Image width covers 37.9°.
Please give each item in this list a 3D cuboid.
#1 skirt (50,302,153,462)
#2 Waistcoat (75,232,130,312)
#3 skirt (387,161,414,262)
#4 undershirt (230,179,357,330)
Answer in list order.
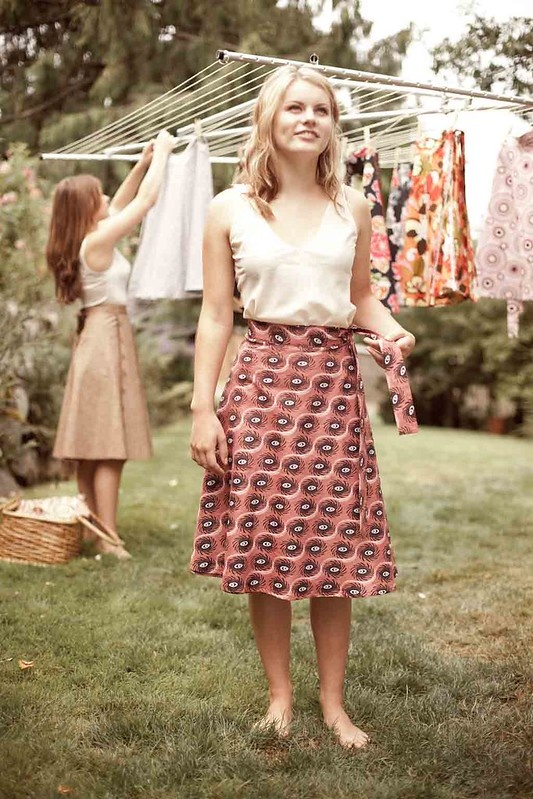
[{"bbox_3d":[-0.868,-0.102,4.079,0.647,0.782,0.623,-2,5,-44],"label":"skirt"},{"bbox_3d":[-0.803,-0.645,3.907,0.280,0.422,0.369,-12,17,-42],"label":"Waistcoat"},{"bbox_3d":[0.757,-0.999,4.190,0.161,0.608,0.059,2,14,42],"label":"skirt"},{"bbox_3d":[0.072,-0.375,1.950,0.324,0.355,0.219,-2,11,-2],"label":"undershirt"}]
